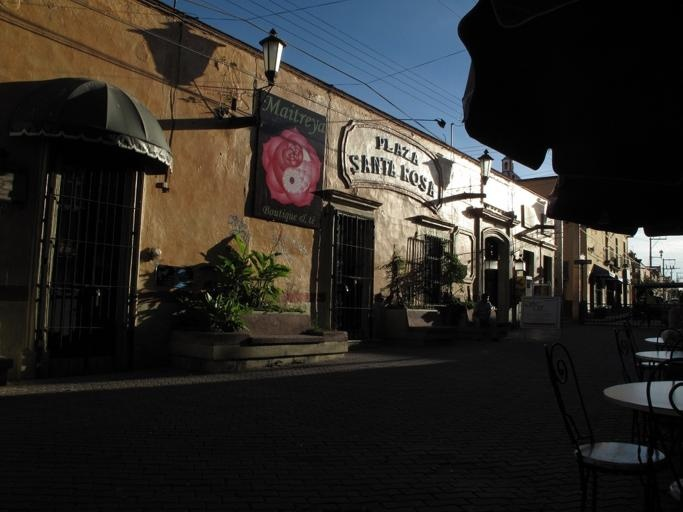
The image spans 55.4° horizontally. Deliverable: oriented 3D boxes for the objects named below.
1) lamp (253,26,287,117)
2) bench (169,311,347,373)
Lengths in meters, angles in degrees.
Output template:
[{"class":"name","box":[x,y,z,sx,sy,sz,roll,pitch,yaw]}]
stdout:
[{"class":"lamp","box":[-1.310,-3.752,12.236,0.501,1.220,0.476,6,-12,-18]},{"class":"bench","box":[-1.407,1.498,11.706,2.982,0.912,0.939,2,1,-38]}]
